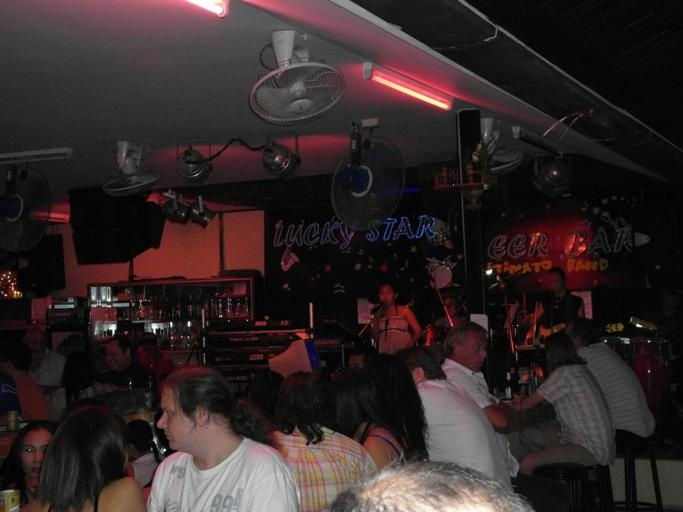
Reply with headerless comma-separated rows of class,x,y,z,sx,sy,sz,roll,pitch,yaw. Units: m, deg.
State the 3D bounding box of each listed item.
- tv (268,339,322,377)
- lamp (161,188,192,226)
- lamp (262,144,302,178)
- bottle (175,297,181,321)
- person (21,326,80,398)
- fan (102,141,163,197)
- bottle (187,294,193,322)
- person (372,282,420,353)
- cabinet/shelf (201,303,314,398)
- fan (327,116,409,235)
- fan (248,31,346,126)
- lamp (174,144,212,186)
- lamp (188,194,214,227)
tv,-0.359,0.839,4.907,0.412,0.339,0.413,-7,-12,-1
lamp,-2.003,-0.619,7.284,0.321,0.420,0.389,-1,-9,-16
lamp,-0.587,-0.935,5.729,0.342,0.342,0.264,-2,-9,-7
bottle,-2.521,0.839,9.233,0.138,0.302,0.060,-3,-9,-2
person,-3.149,1.156,6.484,0.461,0.740,0.230,-18,-4,-8
fan,-2.095,-0.899,5.931,0.554,0.496,0.537,-9,30,-26
bottle,-2.330,0.795,9.229,0.107,0.379,0.019,-5,-9,13
person,0.726,0.880,8.271,0.534,0.874,0.638,-2,-9,-11
cabinet/shelf,-1.112,1.254,7.871,1.372,0.863,1.169,0,-1,-26
fan,0.205,-0.621,4.880,0.587,0.766,0.293,-3,-9,-1
fan,-0.295,-1.140,3.914,0.607,0.621,0.664,-4,-6,8
lamp,-1.443,-0.899,6.036,0.417,0.311,0.358,7,4,10
lamp,-1.730,-0.563,7.360,0.274,0.389,0.288,0,-9,-22
